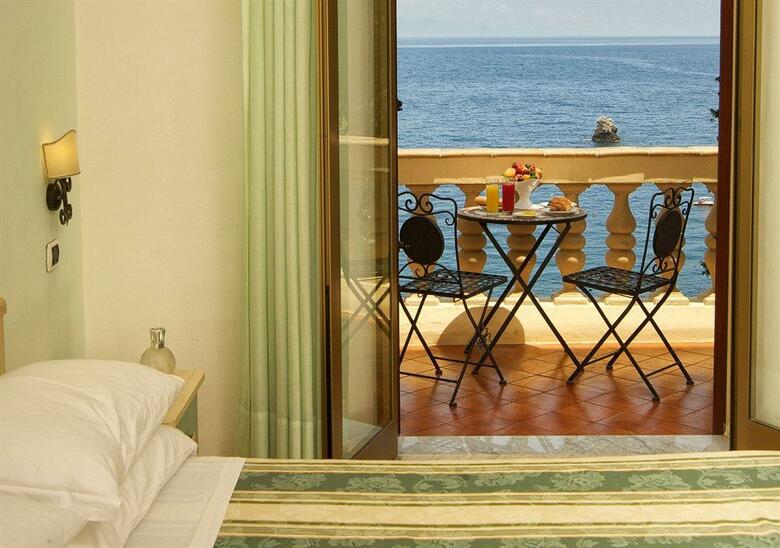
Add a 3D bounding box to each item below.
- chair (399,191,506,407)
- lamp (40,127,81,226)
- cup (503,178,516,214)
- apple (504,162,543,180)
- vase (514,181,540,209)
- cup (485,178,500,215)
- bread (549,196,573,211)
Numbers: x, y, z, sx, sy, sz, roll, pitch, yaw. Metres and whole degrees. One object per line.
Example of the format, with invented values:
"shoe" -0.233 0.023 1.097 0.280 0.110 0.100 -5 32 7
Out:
"chair" 0.344 0.107 4.656 0.830 1.175 0.758 -1 5 1
"lamp" -1.318 -0.370 3.075 0.128 0.397 0.373 -6 16 -19
"cup" 0.717 -0.466 4.616 0.081 0.180 0.146 2 15 8
"apple" 0.810 -0.622 4.675 0.190 0.090 0.193 6 16 21
"vase" 0.832 -0.491 4.695 0.189 0.135 0.168 3 7 16
"cup" 0.617 -0.469 4.594 0.073 0.193 0.140 1 15 5
"bread" 1.044 -0.425 4.644 0.119 0.034 0.114 -9 20 -28
